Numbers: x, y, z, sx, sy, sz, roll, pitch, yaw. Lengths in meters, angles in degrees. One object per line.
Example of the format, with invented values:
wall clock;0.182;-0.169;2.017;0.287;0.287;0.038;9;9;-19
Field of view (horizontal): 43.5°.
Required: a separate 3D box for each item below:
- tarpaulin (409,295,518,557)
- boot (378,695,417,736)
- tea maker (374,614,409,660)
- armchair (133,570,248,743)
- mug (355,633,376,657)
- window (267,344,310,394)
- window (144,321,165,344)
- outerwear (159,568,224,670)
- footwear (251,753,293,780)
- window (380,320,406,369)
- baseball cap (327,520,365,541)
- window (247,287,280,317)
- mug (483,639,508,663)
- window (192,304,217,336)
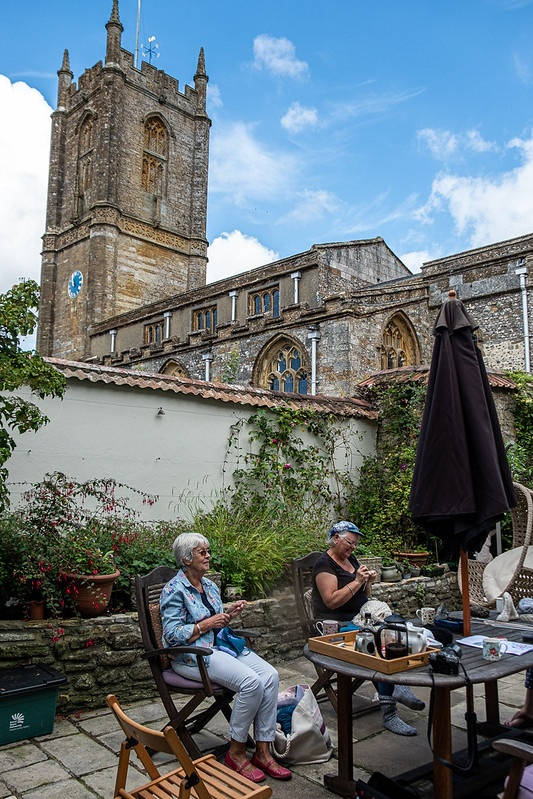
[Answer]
tarpaulin;1.111;0.144;3.891;0.572;1.540;0.529;-2;-4;19
boot;0.836;2.072;4.346;0.136;0.195;0.288;5;-21;-19
tea maker;0.643;1.213;3.415;0.225;0.228;0.125;-1;2;-38
armchair;-0.411;1.555;3.999;0.801;1.027;0.731;2;-10;-17
mug;0.495;1.234;3.355;0.067;0.099;0.101;-3;-13;22
window;0.494;-0.688;14.406;0.089;1.204;1.082;-3;5;-37
window;-3.578;-2.130;21.362;0.074;0.933;0.997;1;1;-41
outerwear;-0.435;1.276;4.007;0.305;0.544;0.606;-17;-20;23
footwear;0.019;2.024;3.714;0.186;0.068;0.098;7;-14;29
window;2.662;-1.102;14.147;0.111;1.077;0.954;-7;14;-18
baseball cap;0.536;0.892;4.610;0.225;0.115;0.168;-16;-12;17
window;-0.064;-2.501;17.173;0.098;1.081;1.152;5;-3;-40
mug;1.203;1.297;3.457;0.156;0.114;0.090;1;-7;2
window;-1.776;-2.264;19.039;0.130;1.157;1.234;3;-2;-42
